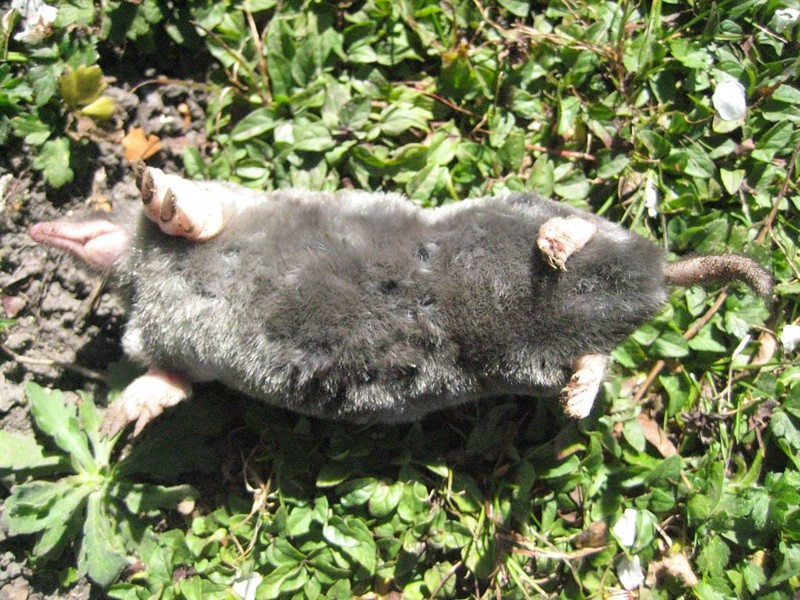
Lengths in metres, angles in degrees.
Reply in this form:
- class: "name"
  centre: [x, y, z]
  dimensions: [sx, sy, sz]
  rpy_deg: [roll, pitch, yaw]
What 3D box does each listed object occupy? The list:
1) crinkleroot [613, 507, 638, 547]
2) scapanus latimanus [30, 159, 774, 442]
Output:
- class: "crinkleroot"
  centre: [1.112, 1.126, 4.160]
  dimensions: [0.110, 0.034, 0.185]
  rpy_deg: [10, 84, -1]
- class: "scapanus latimanus"
  centre: [-0.070, 0.007, 4.099]
  dimensions: [3.050, 1.200, 1.392]
  rpy_deg: [-1, 45, 5]
